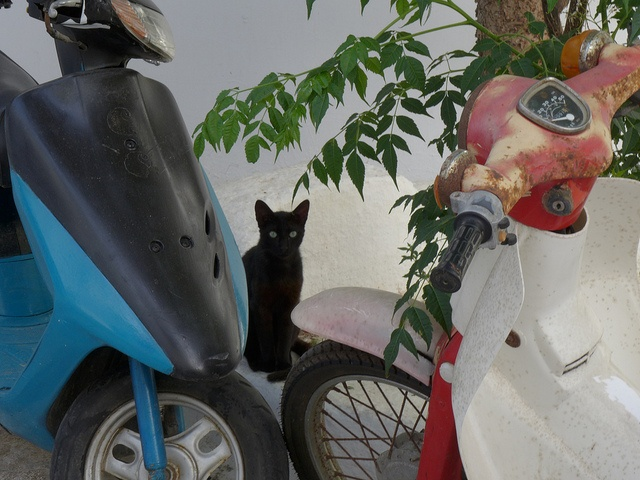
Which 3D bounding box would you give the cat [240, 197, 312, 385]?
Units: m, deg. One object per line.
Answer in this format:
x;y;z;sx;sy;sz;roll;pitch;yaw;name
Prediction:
-0.188;0.143;2.819;0.261;0.682;0.822;0;11;-9;cat
